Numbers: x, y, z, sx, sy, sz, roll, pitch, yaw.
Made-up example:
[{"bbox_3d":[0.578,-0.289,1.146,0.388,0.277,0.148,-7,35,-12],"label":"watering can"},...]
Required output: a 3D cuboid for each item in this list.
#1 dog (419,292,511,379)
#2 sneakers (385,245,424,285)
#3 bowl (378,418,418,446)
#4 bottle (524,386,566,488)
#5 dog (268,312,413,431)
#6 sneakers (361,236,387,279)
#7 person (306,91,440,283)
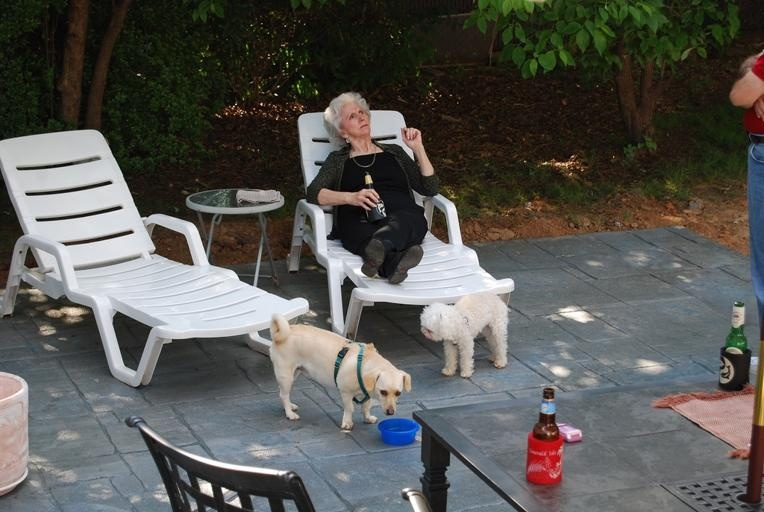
[{"bbox_3d":[0.609,0.566,5.249,0.664,0.586,0.284,-18,23,-38],"label":"dog"},{"bbox_3d":[0.186,0.056,5.568,0.393,0.156,0.155,-39,16,-21],"label":"sneakers"},{"bbox_3d":[0.092,1.079,4.497,0.255,0.077,0.214,-8,17,-21],"label":"bowl"},{"bbox_3d":[0.650,0.707,2.967,0.150,0.400,0.222,0,19,12],"label":"bottle"},{"bbox_3d":[-0.260,0.765,4.669,1.128,0.587,0.432,12,15,37],"label":"dog"},{"bbox_3d":[-0.071,0.011,5.540,0.192,0.289,0.123,26,-10,-13],"label":"sneakers"},{"bbox_3d":[-0.054,-0.645,6.212,1.211,1.046,1.856,-4,21,-13],"label":"person"}]
